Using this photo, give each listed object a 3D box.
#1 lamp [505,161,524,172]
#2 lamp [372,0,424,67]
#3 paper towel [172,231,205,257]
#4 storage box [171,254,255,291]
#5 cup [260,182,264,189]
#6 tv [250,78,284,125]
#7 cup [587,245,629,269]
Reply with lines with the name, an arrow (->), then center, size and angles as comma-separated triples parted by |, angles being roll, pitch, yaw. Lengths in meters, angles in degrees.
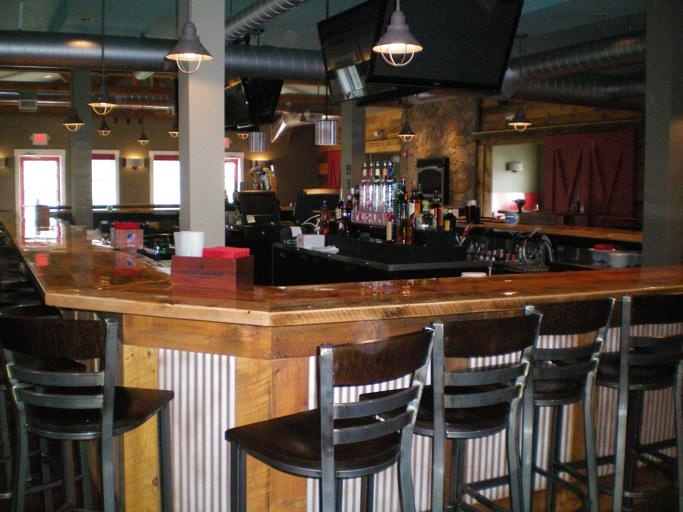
lamp -> 3.787, -1.972, 14.474 | 0.420, 0.280, 0.433 | 2, 4, 38
lamp -> 0.366, -1.513, 4.333 | 0.305, 0.466, 0.669 | 0, 5, 4
paper towel -> -0.840, -0.067, 3.635 | 0.147, 0.143, 0.139 | 1, 1, -32
storage box -> -0.680, 0.086, 3.455 | 0.412, 0.175, 0.122 | 0, 5, 5
cup -> -1.357, -1.205, 11.158 | 0.104, 0.120, 0.105 | 1, 1, 0
tv -> -1.068, -2.123, 8.694 | 0.593, 0.610, 0.549 | -3, 15, -16
cup -> 2.443, 0.011, 6.003 | 0.292, 0.109, 0.222 | 1, 3, 35
